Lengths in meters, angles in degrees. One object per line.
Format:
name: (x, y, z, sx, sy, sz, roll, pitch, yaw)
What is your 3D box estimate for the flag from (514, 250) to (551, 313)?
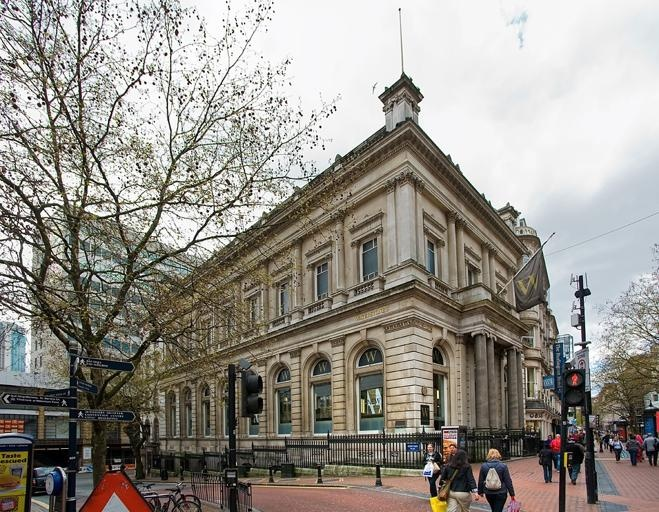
flag: (10.649, 1.037, 37.453, 1.595, 3.516, 2.158, -6, -22, 13)

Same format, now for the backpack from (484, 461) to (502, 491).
backpack: (4.776, 6.403, 20.713, 0.660, 1.055, 0.456, -1, -4, 13)

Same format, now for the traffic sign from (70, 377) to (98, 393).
traffic sign: (-6.577, 3.502, 18.880, 0.436, 0.252, 0.639, 14, -25, 6)

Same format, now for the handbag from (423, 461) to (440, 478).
handbag: (3.546, 7.352, 24.361, 0.583, 0.584, 0.570, -8, -24, 16)

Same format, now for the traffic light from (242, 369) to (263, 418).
traffic light: (-2.286, 4.014, 21.118, 0.842, 1.510, 0.550, -18, -27, 37)
